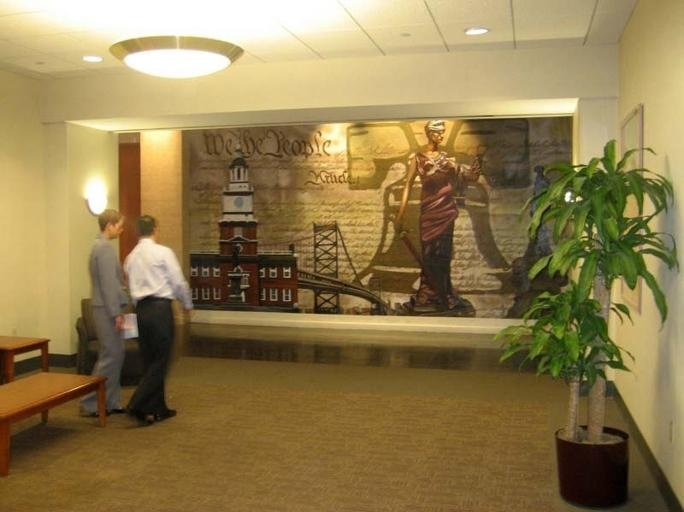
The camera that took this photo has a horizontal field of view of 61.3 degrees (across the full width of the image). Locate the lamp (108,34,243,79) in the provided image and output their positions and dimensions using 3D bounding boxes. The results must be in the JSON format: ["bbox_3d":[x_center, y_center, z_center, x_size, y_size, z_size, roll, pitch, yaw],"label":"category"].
[{"bbox_3d":[-1.605,-1.944,5.637,1.223,0.244,0.585,-1,6,-3],"label":"lamp"}]

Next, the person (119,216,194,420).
[{"bbox_3d":[-1.883,0.754,5.907,0.642,1.841,0.383,-2,6,-21],"label":"person"}]

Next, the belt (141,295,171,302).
[{"bbox_3d":[-1.857,0.432,5.791,0.290,0.070,0.083,-2,6,-16],"label":"belt"}]

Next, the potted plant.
[{"bbox_3d":[2.180,0.363,5.287,1.162,2.828,2.853,1,6,17],"label":"potted plant"}]
